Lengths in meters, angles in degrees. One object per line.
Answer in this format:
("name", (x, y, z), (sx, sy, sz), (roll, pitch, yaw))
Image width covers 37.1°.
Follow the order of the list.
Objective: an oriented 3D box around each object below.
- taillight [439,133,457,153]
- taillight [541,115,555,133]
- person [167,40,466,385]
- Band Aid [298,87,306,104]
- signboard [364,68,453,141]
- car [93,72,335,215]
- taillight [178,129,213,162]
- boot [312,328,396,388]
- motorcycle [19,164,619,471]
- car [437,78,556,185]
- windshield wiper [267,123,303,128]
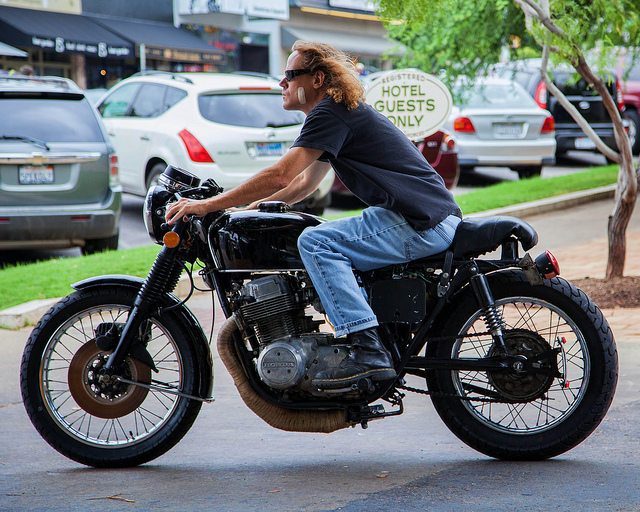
("taillight", (1.839, -1.592, 13.638), (0.197, 0.298, 0.295), (-1, -2, -33))
("taillight", (3.708, -2.114, 15.484), (0.198, 0.248, 0.082), (-7, 14, -22))
("person", (0.184, -0.287, 5.855), (1.269, 2.001, 0.843), (4, 14, 23))
("Band Aid", (-0.106, -1.003, 5.958), (0.045, 0.085, 0.018), (-4, 12, -1))
("signboard", (0.941, -1.584, 10.045), (0.878, 0.726, 0.310), (0, 13, 6))
("car", (-1.310, -1.346, 12.087), (1.725, 1.373, 3.457), (-6, 16, -28))
("taillight", (-1.501, -1.325, 11.602), (0.163, 0.361, 0.461), (-14, 18, -43))
("boot", (0.205, 0.620, 5.744), (0.493, 0.326, 0.145), (-2, 13, 0))
("motorcycle", (-0.062, 0.366, 6.049), (3.661, 1.891, 1.410), (-2, 1, 6))
("car", (2.940, -2.152, 15.984), (1.368, 1.084, 2.775), (-3, 15, -6))
("windshield wiper", (-0.440, -1.645, 11.999), (0.473, 0.064, 0.057), (-11, 16, -35))
